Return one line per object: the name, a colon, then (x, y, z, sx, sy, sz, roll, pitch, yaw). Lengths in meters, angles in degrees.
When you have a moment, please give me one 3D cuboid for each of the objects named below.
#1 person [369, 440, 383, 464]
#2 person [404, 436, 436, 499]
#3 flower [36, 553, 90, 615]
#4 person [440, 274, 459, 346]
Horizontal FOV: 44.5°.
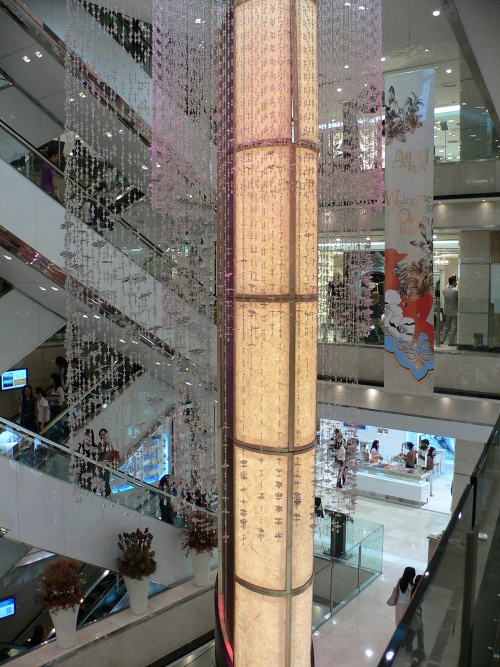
person: (2.607, 2.419, 12.653, 0.250, 0.397, 0.766, -1, 0, 12)
person: (3.397, 2.697, 12.243, 0.587, 0.908, 1.273, -1, 0, 14)
flower: (-2.067, 2.706, 6.728, 0.563, 0.713, 0.518, 7, -19, -23)
person: (2.915, -0.252, 8.912, 0.233, 0.755, 0.132, -1, 0, 12)
